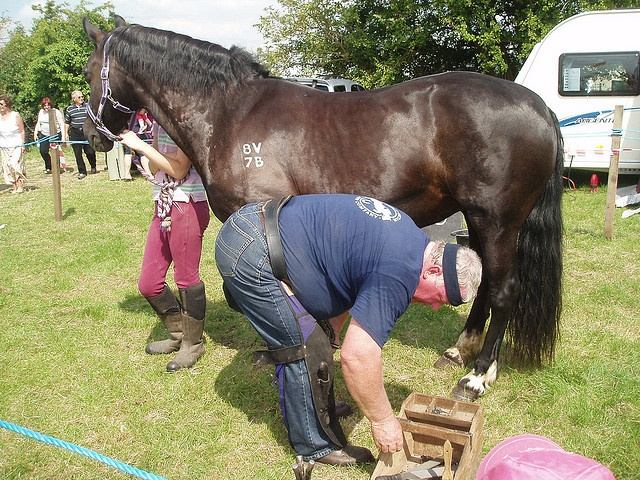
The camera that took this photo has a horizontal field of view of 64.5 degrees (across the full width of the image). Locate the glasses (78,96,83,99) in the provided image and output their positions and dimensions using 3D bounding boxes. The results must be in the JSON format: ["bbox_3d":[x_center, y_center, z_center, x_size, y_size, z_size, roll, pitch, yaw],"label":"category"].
[{"bbox_3d":[-5.583,-3.383,11.891,0.029,0.096,0.303,-4,15,-14],"label":"glasses"}]

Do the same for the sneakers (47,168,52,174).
[{"bbox_3d":[-7.082,-1.826,13.278,0.092,0.119,0.039,-16,49,-36],"label":"sneakers"}]
